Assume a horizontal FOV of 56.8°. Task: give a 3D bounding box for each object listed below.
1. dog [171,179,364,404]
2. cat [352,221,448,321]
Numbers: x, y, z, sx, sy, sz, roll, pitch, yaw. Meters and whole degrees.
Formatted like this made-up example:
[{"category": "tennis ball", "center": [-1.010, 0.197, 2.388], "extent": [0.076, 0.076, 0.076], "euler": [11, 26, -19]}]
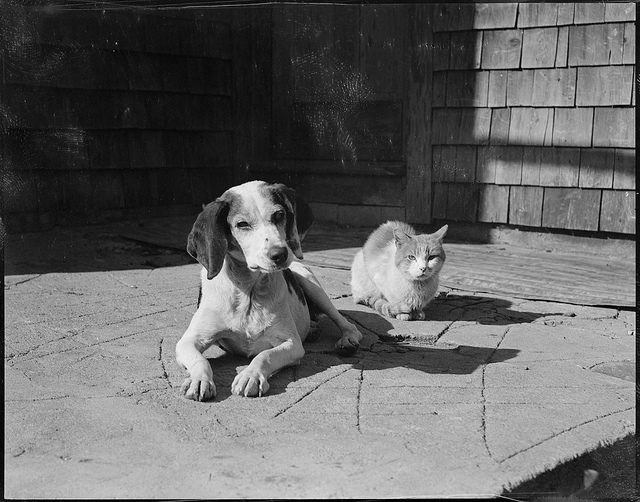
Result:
[{"category": "dog", "center": [-0.440, 0.159, 3.490], "extent": [0.759, 1.126, 1.005], "euler": [1, 10, 3]}, {"category": "cat", "center": [0.607, 0.131, 4.648], "extent": [0.445, 0.681, 0.787], "euler": [-6, 12, -29]}]
